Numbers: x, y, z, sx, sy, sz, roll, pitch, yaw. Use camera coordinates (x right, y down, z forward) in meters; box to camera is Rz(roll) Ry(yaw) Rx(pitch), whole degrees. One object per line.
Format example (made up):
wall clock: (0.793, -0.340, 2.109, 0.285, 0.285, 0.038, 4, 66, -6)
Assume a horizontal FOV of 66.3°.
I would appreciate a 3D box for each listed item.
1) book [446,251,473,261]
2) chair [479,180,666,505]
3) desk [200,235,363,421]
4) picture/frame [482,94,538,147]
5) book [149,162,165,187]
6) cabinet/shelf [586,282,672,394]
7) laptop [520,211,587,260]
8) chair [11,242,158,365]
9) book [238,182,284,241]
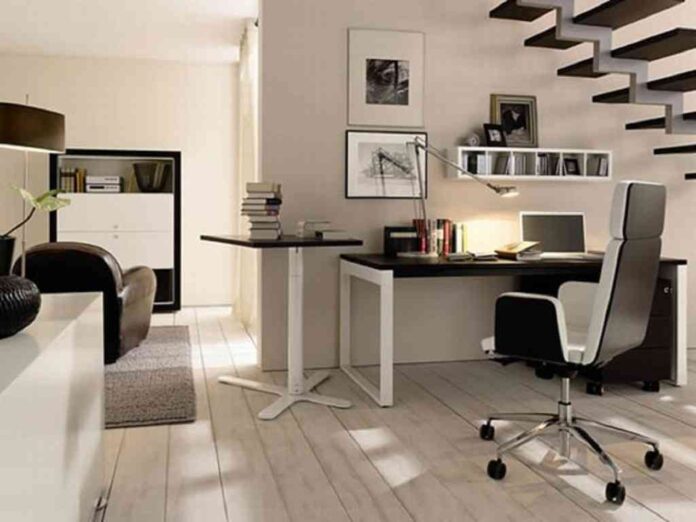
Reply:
book: (0.772, -0.031, 3.720, 0.195, 0.049, 0.117, -1, 7, -13)
chair: (1.115, 0.370, 2.843, 0.834, 1.467, 0.928, -3, 2, -39)
desk: (-0.360, 0.396, 3.685, 1.128, 1.258, 1.112, 0, 0, -11)
picture/frame: (1.278, -1.125, 4.282, 0.458, 0.454, 0.035, 1, -3, -13)
book: (-2.314, -1.042, 6.454, 0.240, 0.272, 0.191, 1, 2, -11)
cabinet/shelf: (1.972, 0.510, 4.053, 0.557, 0.822, 0.827, -2, 7, 6)
laptop: (1.636, -0.193, 4.258, 0.490, 0.328, 0.291, 0, -4, 16)
chair: (-2.165, 0.154, 4.387, 1.047, 1.075, 1.039, 3, 7, 14)
book: (-0.551, -0.321, 3.397, 0.245, 0.355, 0.252, -2, 7, -15)
